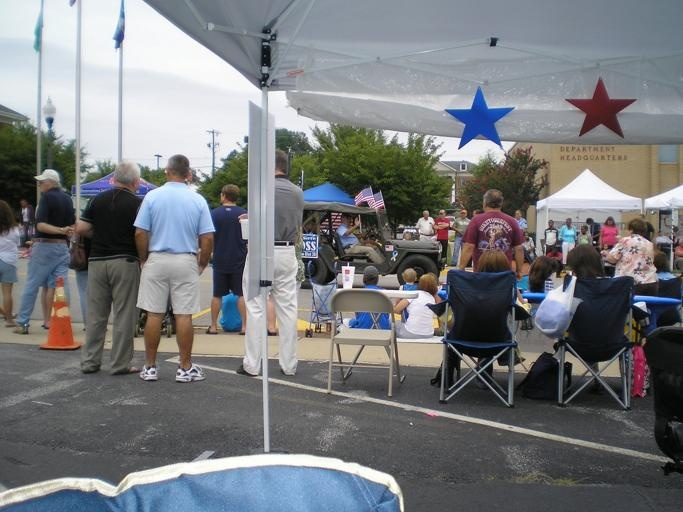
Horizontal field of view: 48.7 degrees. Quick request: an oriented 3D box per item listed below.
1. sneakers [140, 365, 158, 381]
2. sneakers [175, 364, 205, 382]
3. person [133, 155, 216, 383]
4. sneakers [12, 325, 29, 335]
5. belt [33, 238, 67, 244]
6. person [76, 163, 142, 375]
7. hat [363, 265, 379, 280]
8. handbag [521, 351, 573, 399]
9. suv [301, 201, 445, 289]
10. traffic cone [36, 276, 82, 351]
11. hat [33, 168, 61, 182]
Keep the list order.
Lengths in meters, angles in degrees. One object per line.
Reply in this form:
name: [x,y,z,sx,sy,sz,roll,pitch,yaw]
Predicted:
sneakers: [-1.989,1.209,7.796,0.093,0.116,0.246,-1,2,-16]
sneakers: [-1.560,1.210,7.871,0.131,0.158,0.333,1,1,35]
person: [-1.723,0.122,7.795,0.811,2.315,0.503,-1,7,-16]
sneakers: [-4.283,0.971,9.974,0.262,0.117,0.106,0,3,14]
belt: [-3.735,-0.199,9.627,0.392,0.083,0.084,-3,8,-30]
person: [-2.476,0.124,8.082,0.678,2.256,0.666,1,7,-3]
hat: [0.382,0.193,9.513,0.132,0.201,0.195,3,23,3]
handbag: [2.145,1.234,7.874,0.580,0.570,0.427,3,0,-11]
suv: [0.739,-0.349,15.820,2.537,1.580,1.532,-1,5,2]
traffic cone: [-3.475,0.707,9.269,0.468,0.813,0.573,-2,8,-22]
hat: [-3.615,-0.976,9.276,0.259,0.145,0.177,6,1,-24]
